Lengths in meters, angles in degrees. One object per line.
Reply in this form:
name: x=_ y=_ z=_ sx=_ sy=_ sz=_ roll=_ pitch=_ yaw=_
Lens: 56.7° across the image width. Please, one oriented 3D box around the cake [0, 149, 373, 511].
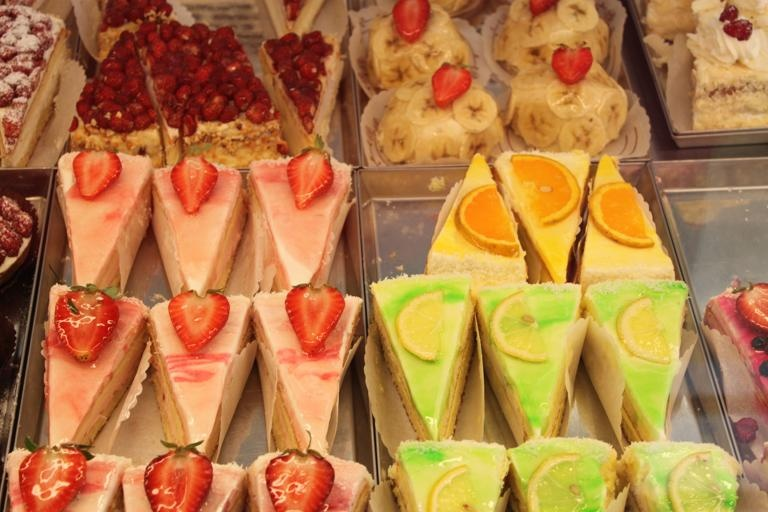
cake: x=-0.774 y=0.302 z=2.666 sx=0.807 sy=1.267 sz=0.277 roll=1 pitch=-34 yaw=0
